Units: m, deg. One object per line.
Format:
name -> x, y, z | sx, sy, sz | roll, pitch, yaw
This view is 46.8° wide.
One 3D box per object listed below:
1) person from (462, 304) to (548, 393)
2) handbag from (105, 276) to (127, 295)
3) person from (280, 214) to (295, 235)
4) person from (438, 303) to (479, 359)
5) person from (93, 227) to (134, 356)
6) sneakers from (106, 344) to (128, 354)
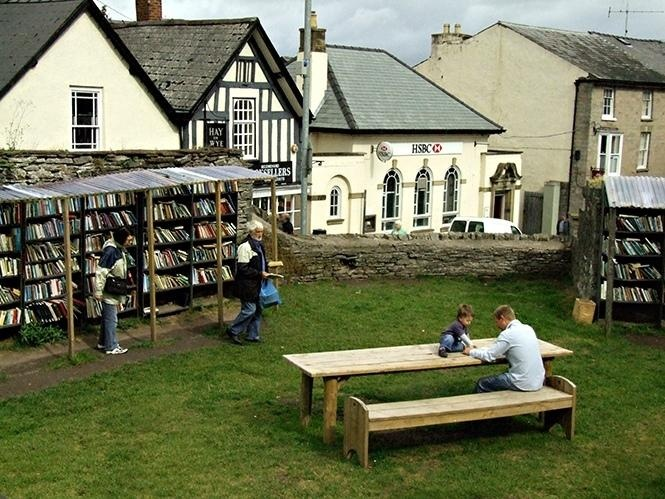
person -> 2.796, 1.911, 12.384 | 1.158, 1.938, 0.810 | 3, -1, 40
handbag -> -3.991, 0.650, 14.275 | 0.499, 0.479, 0.283 | 1, -1, -44
person -> -1.413, -0.761, 24.051 | 0.391, 0.747, 0.758 | 3, 6, 15
person -> 2.044, 1.334, 12.578 | 0.796, 0.825, 0.519 | -1, 10, -41
person -> -4.131, 0.773, 14.571 | 0.672, 2.351, 0.987 | -2, 7, -16
sneakers -> -4.043, 1.905, 14.476 | 0.408, 0.211, 0.151 | -3, 8, -21
